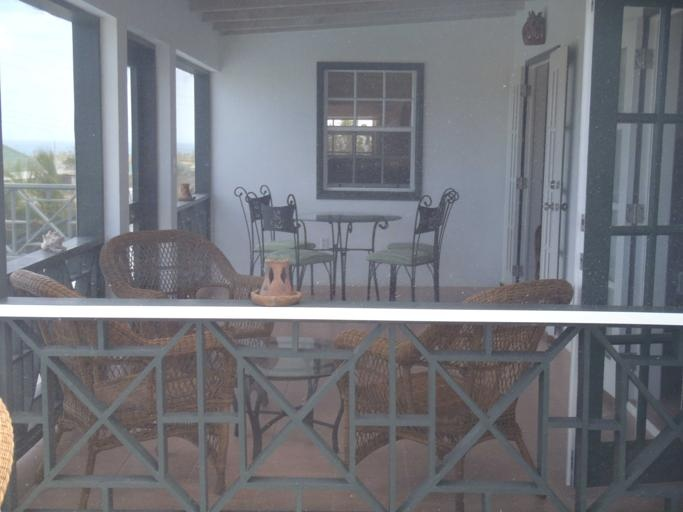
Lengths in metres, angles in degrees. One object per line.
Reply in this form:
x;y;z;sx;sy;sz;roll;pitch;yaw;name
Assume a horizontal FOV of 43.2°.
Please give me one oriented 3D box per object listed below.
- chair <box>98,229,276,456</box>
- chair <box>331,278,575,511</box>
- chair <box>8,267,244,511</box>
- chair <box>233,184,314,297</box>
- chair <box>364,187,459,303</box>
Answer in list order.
-0.838;0.362;4.727;0.827;1.060;0.845;-1;1;-28;chair
0.531;0.509;3.801;0.888;0.980;0.816;0;0;24;chair
-1.017;0.566;3.831;0.923;1.189;0.888;-2;6;-23;chair
-0.501;-0.207;6.779;0.560;0.829;0.636;-7;28;-15;chair
0.545;-0.032;6.325;0.530;0.865;0.554;-2;2;38;chair
